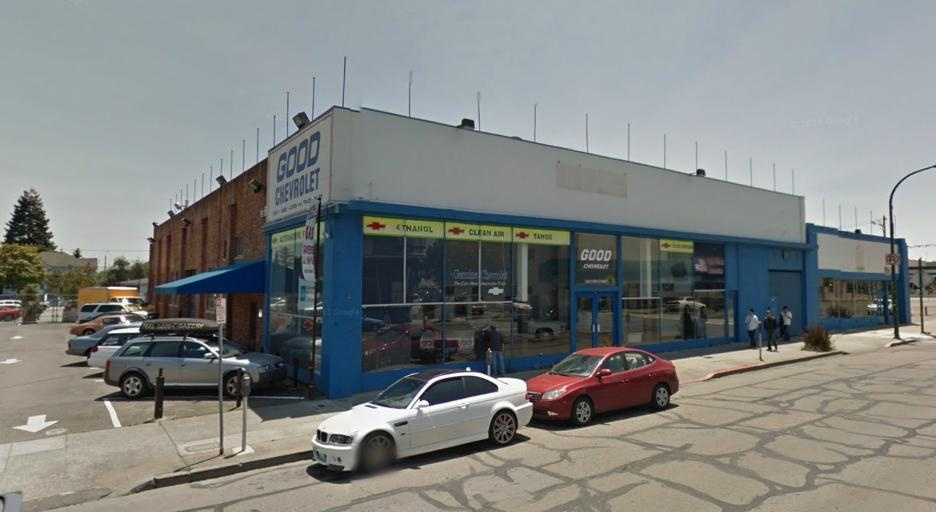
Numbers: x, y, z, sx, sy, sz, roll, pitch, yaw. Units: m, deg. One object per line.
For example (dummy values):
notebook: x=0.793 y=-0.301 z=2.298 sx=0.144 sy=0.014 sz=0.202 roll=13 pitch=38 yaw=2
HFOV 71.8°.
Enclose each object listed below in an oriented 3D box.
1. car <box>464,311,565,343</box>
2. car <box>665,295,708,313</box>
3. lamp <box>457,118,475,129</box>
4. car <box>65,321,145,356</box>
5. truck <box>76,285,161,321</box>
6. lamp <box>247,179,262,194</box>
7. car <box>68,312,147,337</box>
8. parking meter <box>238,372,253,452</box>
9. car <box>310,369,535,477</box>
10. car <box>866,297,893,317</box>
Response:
car: x=2.760 y=3.708 z=33.661 sx=3.545 sy=1.157 sz=1.840 roll=3 pitch=-6 yaw=-21
car: x=12.686 y=2.856 z=37.915 sx=2.350 sy=0.705 sz=1.004 roll=-2 pitch=1 yaw=-20
lamp: x=-0.013 y=-6.647 z=32.981 sx=0.613 sy=0.608 sz=1.948 roll=2 pitch=6 yaw=-4
car: x=-20.435 y=4.861 z=36.210 sx=5.260 sy=1.541 sz=2.923 roll=0 pitch=-1 yaw=-13
truck: x=-28.348 y=3.681 z=50.430 sx=6.983 sy=3.570 sz=4.136 roll=-1 pitch=-1 yaw=9
lamp: x=-12.062 y=-3.879 z=36.494 sx=0.685 sy=0.683 sz=0.442 roll=-28 pitch=7 yaw=42
car: x=-22.371 y=4.495 z=40.068 sx=3.914 sy=1.170 sz=1.826 roll=2 pitch=-4 yaw=-29
parking meter: x=-8.856 y=6.323 z=25.703 sx=0.525 sy=2.769 sz=0.451 roll=2 pitch=-15 yaw=-21
car: x=-1.692 y=6.569 z=25.943 sx=8.449 sy=2.568 sz=3.464 roll=0 pitch=-3 yaw=-24
car: x=31.207 y=3.957 z=48.911 sx=1.269 sy=0.989 sz=2.696 roll=2 pitch=5 yaw=43
